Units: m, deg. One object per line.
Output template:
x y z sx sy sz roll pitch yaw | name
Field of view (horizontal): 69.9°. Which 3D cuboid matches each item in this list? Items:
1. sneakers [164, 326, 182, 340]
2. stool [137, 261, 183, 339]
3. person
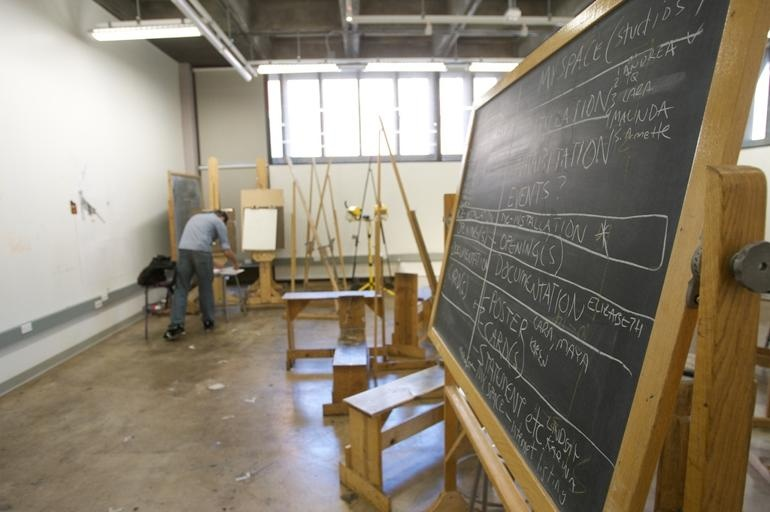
-2.270 0.819 5.916 0.102 0.125 0.272 -4 1 -33 | sneakers
-2.478 0.365 6.329 0.453 0.802 0.467 1 14 15 | stool
-2.124 0.213 6.312 0.648 1.582 0.732 -19 -24 39 | person
